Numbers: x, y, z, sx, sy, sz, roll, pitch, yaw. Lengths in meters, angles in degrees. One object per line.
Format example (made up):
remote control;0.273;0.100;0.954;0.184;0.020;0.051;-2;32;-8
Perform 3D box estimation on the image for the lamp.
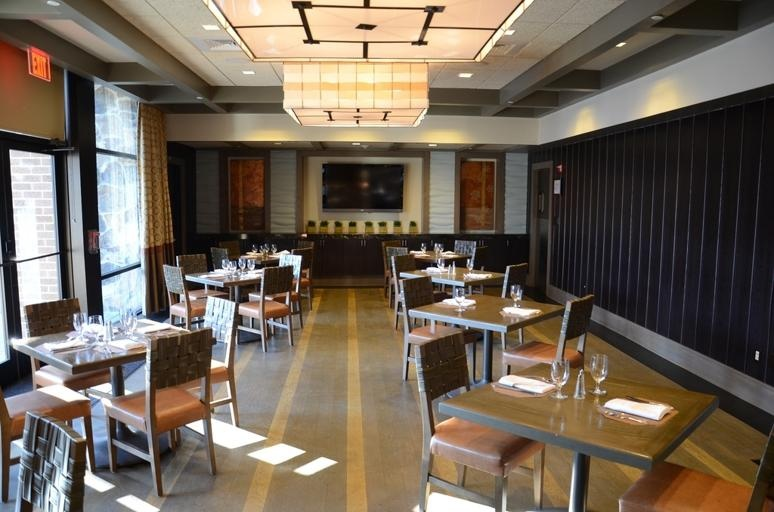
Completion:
lamp;-0.046;-2.220;6.985;1.923;0.485;1.766;7;16;22
